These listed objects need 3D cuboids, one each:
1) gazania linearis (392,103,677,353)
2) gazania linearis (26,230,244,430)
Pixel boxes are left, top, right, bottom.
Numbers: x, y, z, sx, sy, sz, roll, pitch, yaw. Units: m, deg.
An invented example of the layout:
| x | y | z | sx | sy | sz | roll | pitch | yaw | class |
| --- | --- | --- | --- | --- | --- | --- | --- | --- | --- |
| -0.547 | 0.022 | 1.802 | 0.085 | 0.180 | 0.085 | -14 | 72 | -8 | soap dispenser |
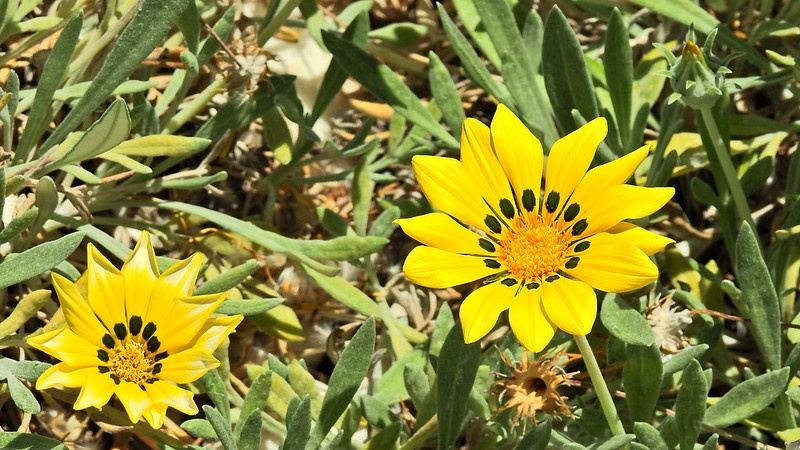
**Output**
| x | y | z | sx | sy | sz | roll | pitch | yaw | class |
| --- | --- | --- | --- | --- | --- | --- | --- | --- | --- |
| 0.327 | -0.002 | 1.680 | 0.662 | 0.288 | 0.596 | -33 | 63 | -15 | gazania linearis |
| -0.688 | 0.269 | 1.713 | 0.447 | 0.220 | 0.470 | 20 | 63 | 14 | gazania linearis |
